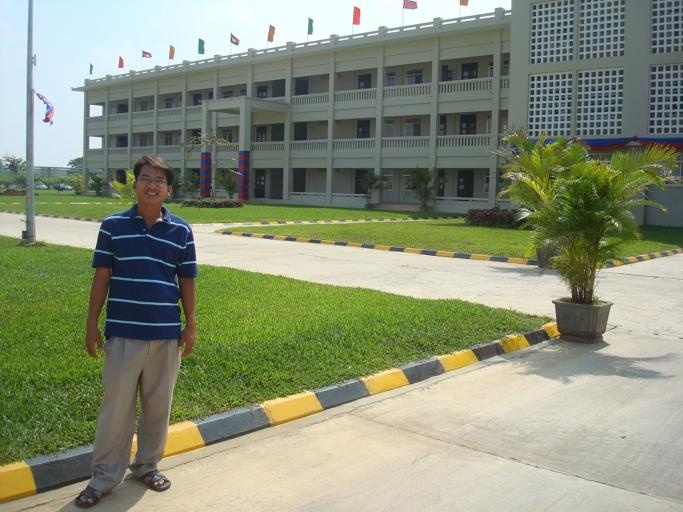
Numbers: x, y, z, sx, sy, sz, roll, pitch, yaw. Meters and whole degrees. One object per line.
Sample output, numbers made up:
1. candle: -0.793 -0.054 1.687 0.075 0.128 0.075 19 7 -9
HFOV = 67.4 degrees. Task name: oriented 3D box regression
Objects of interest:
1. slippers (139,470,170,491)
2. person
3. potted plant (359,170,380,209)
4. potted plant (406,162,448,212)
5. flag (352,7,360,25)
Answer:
1. slippers: -1.250 1.504 3.438 0.086 0.065 0.226 -11 3 -42
2. person: -1.347 0.451 3.378 0.785 2.219 0.500 -3 10 -28
3. potted plant: 2.276 -5.173 38.911 1.306 2.874 1.935 4 9 12
4. potted plant: 5.912 -4.745 37.411 3.097 3.552 3.124 -3 -4 42
5. flag: 1.185 -19.144 40.471 0.396 1.217 0.400 1 9 -7
